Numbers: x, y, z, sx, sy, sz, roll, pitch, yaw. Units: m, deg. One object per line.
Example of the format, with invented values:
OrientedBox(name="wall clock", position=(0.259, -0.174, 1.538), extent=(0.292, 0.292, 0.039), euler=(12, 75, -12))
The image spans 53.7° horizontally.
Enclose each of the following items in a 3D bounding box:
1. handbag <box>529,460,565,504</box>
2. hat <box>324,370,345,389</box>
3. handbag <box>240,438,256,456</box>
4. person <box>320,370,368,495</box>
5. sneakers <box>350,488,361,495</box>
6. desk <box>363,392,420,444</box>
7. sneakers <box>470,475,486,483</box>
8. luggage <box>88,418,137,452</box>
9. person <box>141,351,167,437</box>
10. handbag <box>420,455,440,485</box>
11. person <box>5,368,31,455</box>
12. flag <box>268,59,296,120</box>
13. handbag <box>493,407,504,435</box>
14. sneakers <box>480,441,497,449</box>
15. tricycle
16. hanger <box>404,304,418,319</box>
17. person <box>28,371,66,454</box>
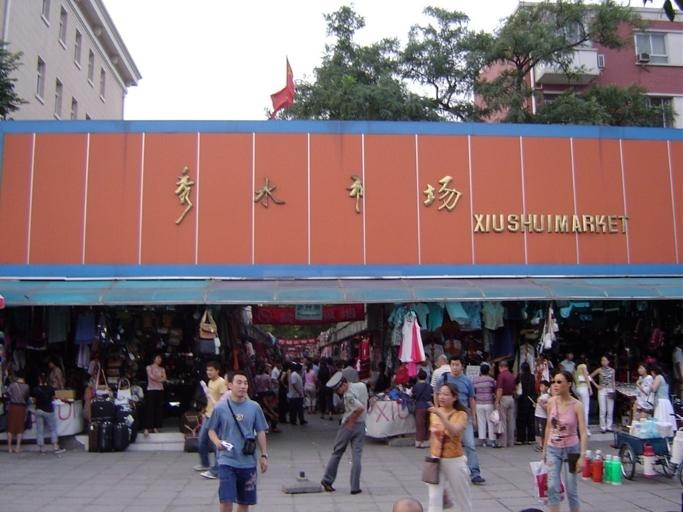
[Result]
OrientedBox(name="handbag", position=(3.347, 3.604, 10.828), extent=(0.497, 0.756, 0.314), euler=(-12, -30, 12))
OrientedBox(name="hat", position=(-0.132, 2.376, 12.731), extent=(0.303, 0.325, 0.478), euler=(-2, -7, -14))
OrientedBox(name="handbag", position=(-1.347, 2.865, 10.143), extent=(0.164, 0.269, 0.316), euler=(-6, -7, 23))
OrientedBox(name="person", position=(0.084, 3.334, 12.868), extent=(0.884, 2.221, 1.001), euler=(-3, -6, -2))
OrientedBox(name="sneakers", position=(0.299, 4.354, 12.486), extent=(0.212, 0.086, 0.125), euler=(-2, -7, -16))
OrientedBox(name="desk", position=(1.226, 4.103, 17.178), extent=(1.614, 1.034, 1.367), euler=(0, -4, -39))
OrientedBox(name="sneakers", position=(2.642, 4.291, 12.975), extent=(0.225, 0.107, 0.127), euler=(1, -6, -2))
OrientedBox(name="luggage", position=(-5.262, 4.093, 15.905), extent=(1.087, 1.142, 0.685), euler=(1, -15, -6))
OrientedBox(name="person", position=(-4.551, 3.372, 16.490), extent=(0.527, 1.917, 0.905), euler=(-1, -7, -17))
OrientedBox(name="handbag", position=(1.376, 3.238, 10.193), extent=(0.289, 0.415, 0.168), euler=(-4, -6, 5))
OrientedBox(name="person", position=(-7.412, 3.591, 15.461), extent=(0.490, 1.791, 0.412), euler=(-5, -7, 15))
OrientedBox(name="flag", position=(-1.789, -5.318, 21.228), extent=(0.804, 2.403, 0.235), euler=(-4, -23, 2))
OrientedBox(name="handbag", position=(3.741, 3.936, 16.087), extent=(0.136, 0.588, 0.334), euler=(-8, -8, 38))
OrientedBox(name="sneakers", position=(3.528, 4.549, 16.244), extent=(0.423, 0.195, 0.133), euler=(-15, -16, 35))
OrientedBox(name="tricycle", position=(5.943, 3.853, 13.349), extent=(0.777, 0.706, 1.311), euler=(2, -5, -4))
OrientedBox(name="hanger", position=(1.782, 1.379, 16.944), extent=(0.290, 0.367, 0.532), euler=(-4, -6, 5))
OrientedBox(name="person", position=(-6.817, 3.654, 15.679), extent=(0.589, 1.770, 0.820), euler=(0, -7, -24))
